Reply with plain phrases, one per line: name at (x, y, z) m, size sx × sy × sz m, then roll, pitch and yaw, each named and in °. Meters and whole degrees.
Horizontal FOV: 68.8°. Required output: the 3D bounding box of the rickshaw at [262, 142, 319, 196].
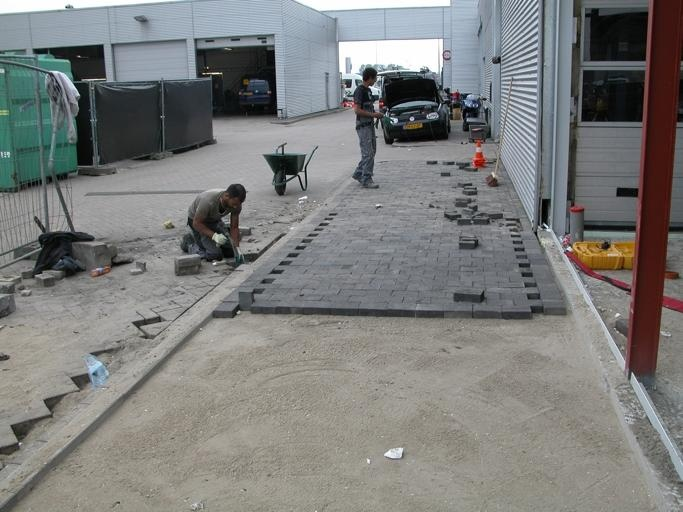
rickshaw at (-1.287, -2.191, 12.561) m, size 1.062 × 1.164 × 2.078 m, roll 4°, pitch 16°, yaw 7°

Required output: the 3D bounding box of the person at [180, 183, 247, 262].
person at (-1.871, -0.521, 7.358) m, size 0.915 × 1.220 × 0.886 m, roll 3°, pitch 16°, yaw -6°

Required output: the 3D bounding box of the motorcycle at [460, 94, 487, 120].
motorcycle at (6.595, -7.453, 24.927) m, size 0.918 × 1.157 × 1.579 m, roll 3°, pitch 17°, yaw 10°

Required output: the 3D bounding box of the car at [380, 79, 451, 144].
car at (2.999, -6.013, 20.489) m, size 2.552 × 2.677 × 1.355 m, roll 0°, pitch 17°, yaw 1°

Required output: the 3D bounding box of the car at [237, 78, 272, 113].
car at (-6.404, -12.027, 37.378) m, size 2.485 × 2.429 × 3.454 m, roll -3°, pitch 17°, yaw -9°

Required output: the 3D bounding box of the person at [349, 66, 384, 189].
person at (0.659, -3.088, 11.900) m, size 0.783 × 2.745 × 0.888 m, roll 1°, pitch 21°, yaw 7°
